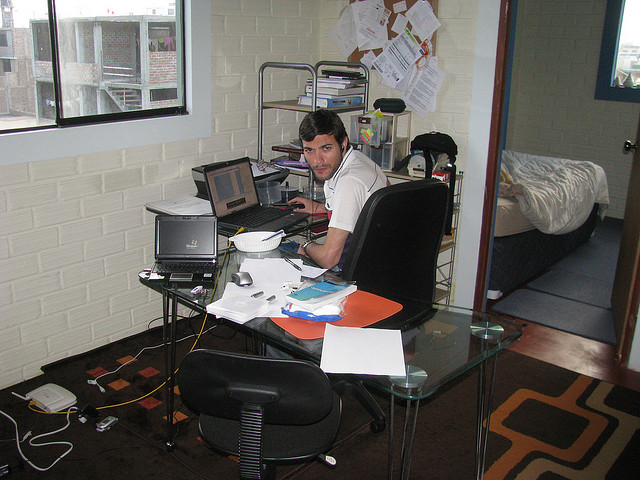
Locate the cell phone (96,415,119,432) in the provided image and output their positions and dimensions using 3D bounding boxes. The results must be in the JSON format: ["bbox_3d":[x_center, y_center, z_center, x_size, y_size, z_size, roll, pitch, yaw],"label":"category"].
[{"bbox_3d":[-1.099,0.943,2.487,0.046,0.020,0.078,12,22,26],"label":"cell phone"}]

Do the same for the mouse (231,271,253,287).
[{"bbox_3d":[-0.313,0.154,1.970,0.080,0.049,0.076,-4,19,-12],"label":"mouse"}]

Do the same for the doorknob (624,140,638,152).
[{"bbox_3d":[2.154,-0.655,3.405,0.087,0.097,0.105,14,17,25],"label":"doorknob"}]

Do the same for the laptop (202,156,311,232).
[{"bbox_3d":[-0.370,-0.276,2.861,0.607,0.305,0.571,-9,26,-36],"label":"laptop"}]

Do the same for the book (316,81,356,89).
[{"bbox_3d":[0.093,-1.063,3.298,0.120,0.026,0.120,12,17,41],"label":"book"}]

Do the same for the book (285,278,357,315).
[{"bbox_3d":[0.025,0.190,1.800,0.124,0.032,0.213,17,26,39],"label":"book"}]

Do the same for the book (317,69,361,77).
[{"bbox_3d":[0.146,-1.219,3.514,0.256,0.050,0.263,11,16,34],"label":"book"}]

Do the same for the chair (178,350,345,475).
[{"bbox_3d":[-0.190,0.604,1.673,0.531,0.617,0.357,-1,20,0],"label":"chair"}]

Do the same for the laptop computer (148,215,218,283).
[{"bbox_3d":[-0.627,0.020,2.255,0.297,0.201,0.566,-3,19,-9],"label":"laptop computer"}]
